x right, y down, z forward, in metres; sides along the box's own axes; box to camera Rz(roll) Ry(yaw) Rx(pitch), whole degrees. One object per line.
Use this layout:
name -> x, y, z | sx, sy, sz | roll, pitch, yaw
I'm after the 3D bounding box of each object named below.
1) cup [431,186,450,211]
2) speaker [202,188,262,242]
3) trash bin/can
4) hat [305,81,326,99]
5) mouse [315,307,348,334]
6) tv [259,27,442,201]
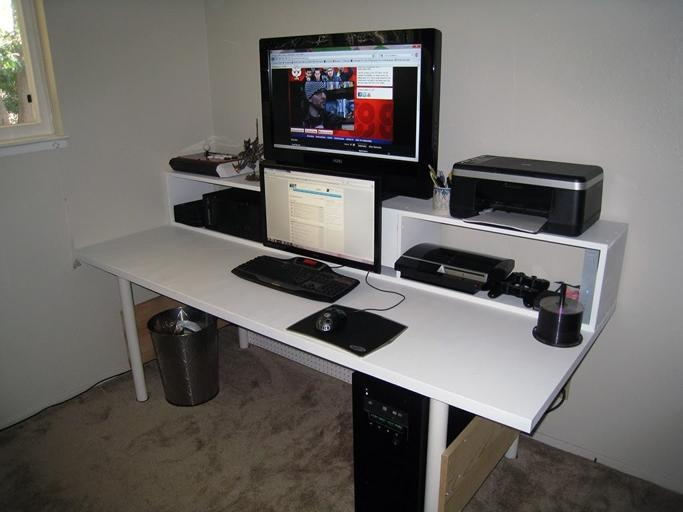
cup -> 0.446, -0.256, 2.335 | 0.084, 0.102, 0.092 | -1, 16, 0
speaker -> -0.585, -0.226, 2.924 | 0.437, 0.229, 0.271 | 14, 25, 33
trash bin/can -> -0.860, 0.565, 2.887 | 0.393, 0.474, 0.391 | 18, 28, 39
hat -> -0.129, -0.821, 2.612 | 0.067, 0.068, 0.088 | 2, 25, 34
mouse -> -0.053, 0.261, 2.122 | 0.073, 0.061, 0.128 | 11, 18, 22
tv -> 0.072, -0.673, 2.503 | 0.773, 0.704, 0.181 | 9, 20, 26
